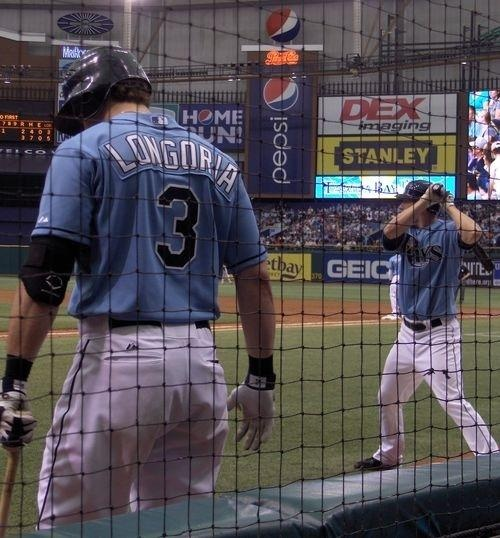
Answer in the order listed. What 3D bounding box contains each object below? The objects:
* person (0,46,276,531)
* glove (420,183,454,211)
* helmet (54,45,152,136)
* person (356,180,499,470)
[{"bbox_3d":[-0.506,0.229,4.693,1.316,1.891,0.439,-7,10,-37],"label":"person"},{"bbox_3d":[1.274,-0.477,6.827,0.148,0.102,0.205,28,-14,11],"label":"glove"},{"bbox_3d":[-0.742,-0.905,4.887,0.422,0.351,0.345,-10,0,13],"label":"helmet"},{"bbox_3d":[1.215,0.392,6.866,0.849,1.930,1.149,-1,8,6],"label":"person"}]
